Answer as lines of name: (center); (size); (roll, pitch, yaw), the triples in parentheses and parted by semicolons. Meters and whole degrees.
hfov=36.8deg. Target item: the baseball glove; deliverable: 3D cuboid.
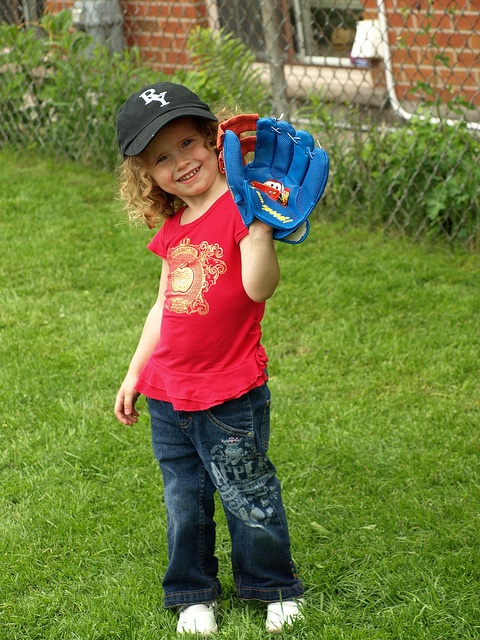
baseball glove: (0.073, -0.325, 1.636); (0.227, 0.135, 0.321); (-6, 61, -13)

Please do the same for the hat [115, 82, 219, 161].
hat: (-0.188, -0.516, 1.869); (0.222, 0.177, 0.190); (-7, 22, -23)
